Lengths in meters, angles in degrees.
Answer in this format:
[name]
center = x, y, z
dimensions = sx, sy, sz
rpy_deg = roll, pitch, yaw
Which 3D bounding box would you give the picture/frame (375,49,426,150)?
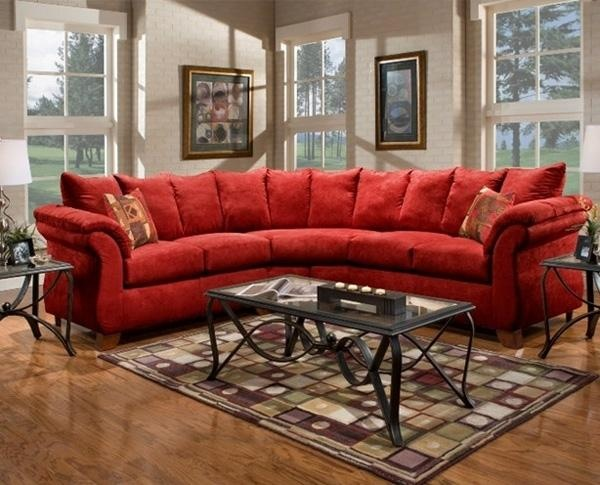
[picture/frame]
center = 1.208, -1.706, 5.981
dimensions = 0.713, 1.149, 0.098
rpy_deg = 6, 13, 39

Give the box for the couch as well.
[couch]
center = 0.341, 0.194, 3.855
dimensions = 2.245, 0.593, 2.315
rpy_deg = 1, 2, 45
